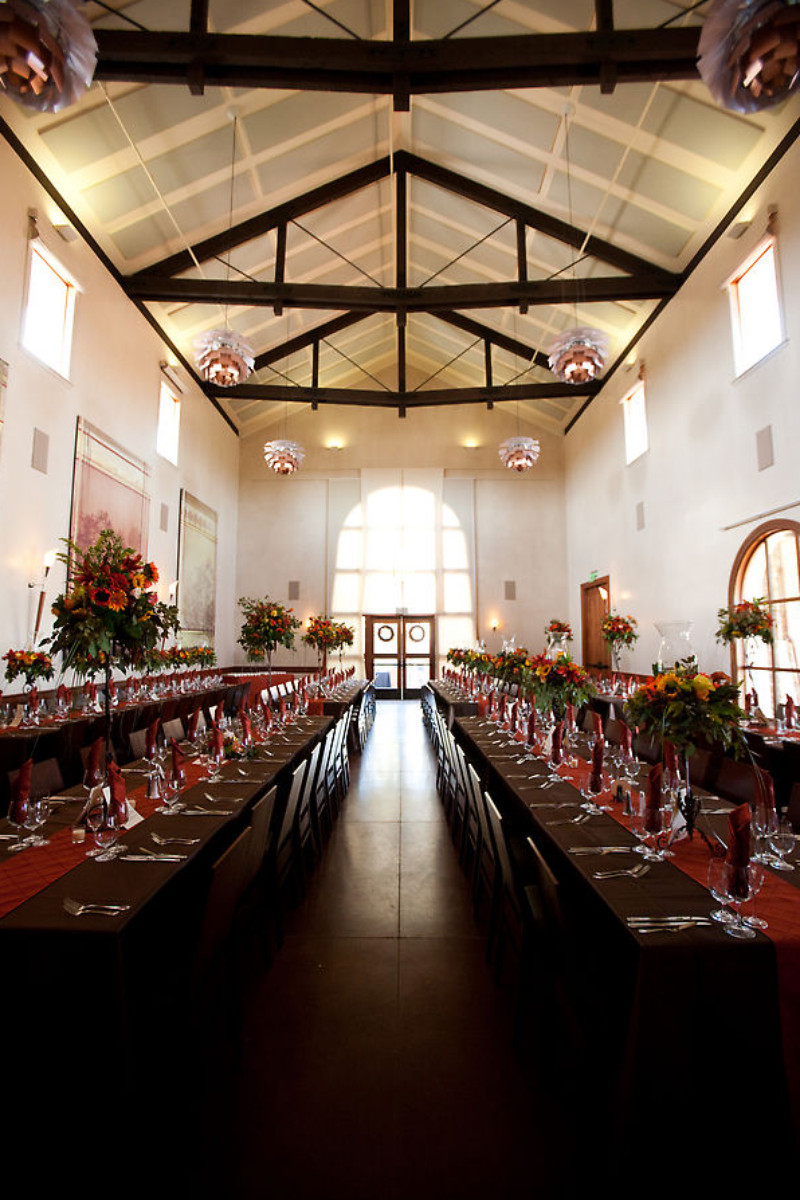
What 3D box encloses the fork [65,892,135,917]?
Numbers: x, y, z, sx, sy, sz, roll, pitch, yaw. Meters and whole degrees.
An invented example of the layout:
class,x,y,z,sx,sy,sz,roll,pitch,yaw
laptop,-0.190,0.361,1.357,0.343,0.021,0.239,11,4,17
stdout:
class,x,y,z,sx,sy,sz,roll,pitch,yaw
fork,-0.770,0.781,1.948,0.158,0.037,0.063,-5,1,-2
